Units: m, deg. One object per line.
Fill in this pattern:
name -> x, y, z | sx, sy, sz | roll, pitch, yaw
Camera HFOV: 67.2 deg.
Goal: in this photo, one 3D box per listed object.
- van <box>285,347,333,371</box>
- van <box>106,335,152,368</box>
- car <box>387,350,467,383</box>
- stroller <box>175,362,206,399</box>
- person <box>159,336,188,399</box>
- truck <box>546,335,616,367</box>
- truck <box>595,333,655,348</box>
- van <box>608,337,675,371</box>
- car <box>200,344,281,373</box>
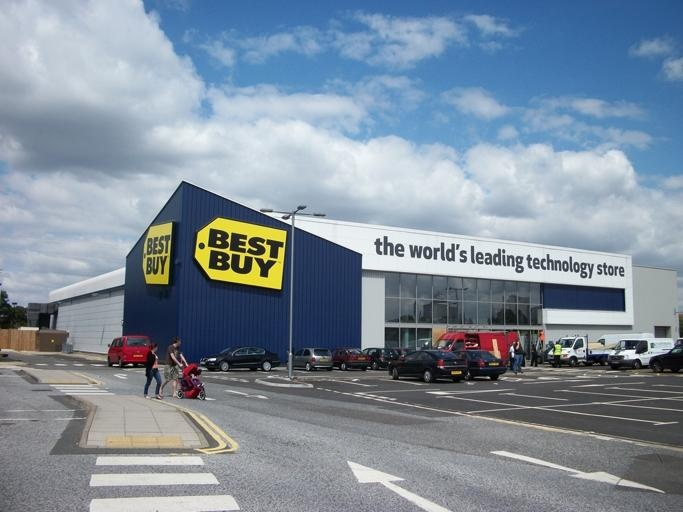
van -> -2.082, 7.167, 36.086 | 1.577, 1.228, 2.663 | 4, -4, -32
van -> -14.267, 6.329, 34.220 | 2.924, 2.017, 1.223 | -3, -10, 28
car -> 4.286, 5.696, 26.005 | 3.185, 1.759, 2.878 | -1, -3, -18
stroller -> -5.099, 4.281, 17.531 | 0.878, 1.117, 1.279 | 5, -10, -18
person -> -5.781, 3.835, 17.769 | 1.007, 1.947, 0.703 | 0, -6, -8
truck -> 20.787, 8.235, 44.372 | 6.184, 3.071, 3.087 | 5, -13, -19
truck -> 23.097, 6.942, 41.931 | 1.967, 0.974, 1.996 | 2, -6, -28
van -> 22.030, 7.165, 37.759 | 4.583, 1.994, 2.352 | 6, -12, -18
car -> -6.560, 6.753, 33.308 | 4.238, 1.503, 1.835 | 8, -13, -29
